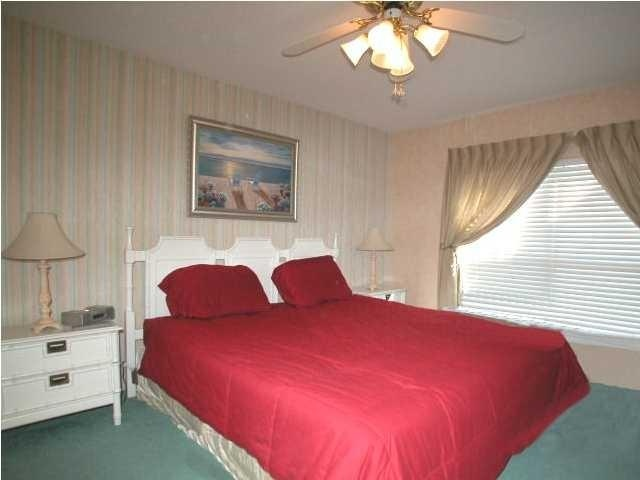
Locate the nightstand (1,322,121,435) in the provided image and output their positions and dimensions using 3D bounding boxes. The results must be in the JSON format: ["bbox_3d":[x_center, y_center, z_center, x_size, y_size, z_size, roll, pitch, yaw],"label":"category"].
[{"bbox_3d":[-1.899,0.917,3.401,0.862,0.873,0.618,2,-6,-39],"label":"nightstand"}]

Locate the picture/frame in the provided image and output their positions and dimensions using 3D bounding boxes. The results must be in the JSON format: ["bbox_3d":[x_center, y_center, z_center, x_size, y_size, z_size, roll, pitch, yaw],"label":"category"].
[{"bbox_3d":[-0.781,-0.686,4.394,1.091,0.819,0.038,-2,5,-37],"label":"picture/frame"}]

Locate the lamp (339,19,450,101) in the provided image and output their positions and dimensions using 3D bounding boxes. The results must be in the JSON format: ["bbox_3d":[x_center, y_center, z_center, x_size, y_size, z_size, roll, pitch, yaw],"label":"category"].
[{"bbox_3d":[0.487,-1.248,3.091,0.578,0.365,0.607,2,-20,-4],"label":"lamp"}]
